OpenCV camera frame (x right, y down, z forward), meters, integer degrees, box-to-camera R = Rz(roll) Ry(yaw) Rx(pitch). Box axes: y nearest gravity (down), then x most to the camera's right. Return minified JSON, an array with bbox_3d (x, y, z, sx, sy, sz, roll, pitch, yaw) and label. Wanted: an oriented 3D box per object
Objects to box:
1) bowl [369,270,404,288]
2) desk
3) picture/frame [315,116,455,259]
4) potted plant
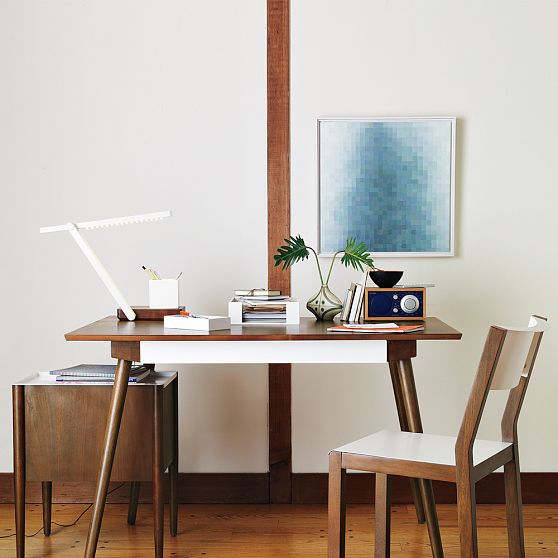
[{"bbox_3d":[0.402,0.005,2.585,0.081,0.038,0.083,-1,-5,0],"label":"bowl"},{"bbox_3d":[-0.038,0.675,2.528,1.425,0.981,0.811,0,-2,3],"label":"desk"},{"bbox_3d":[0.461,-0.404,2.903,0.571,0.591,0.029,0,2,-1],"label":"picture/frame"},{"bbox_3d":[0.182,-0.007,2.728,0.313,0.293,0.145,2,-4,-11],"label":"potted plant"}]
